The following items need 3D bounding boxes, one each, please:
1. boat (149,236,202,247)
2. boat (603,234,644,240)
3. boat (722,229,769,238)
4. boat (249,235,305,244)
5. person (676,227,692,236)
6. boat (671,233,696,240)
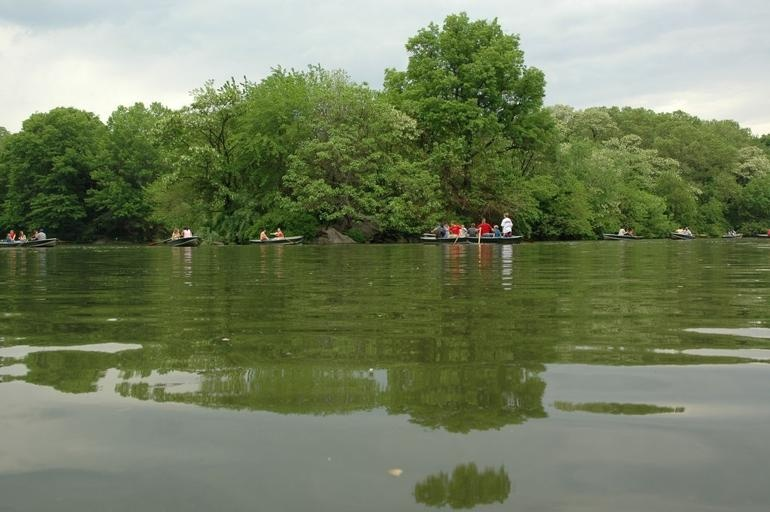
[{"bbox_3d":[-13.024,-0.885,45.094,1.062,0.611,4.437,-6,-1,-45],"label":"boat"},{"bbox_3d":[18.728,-1.552,58.228,3.123,0.443,0.751,1,2,-25],"label":"boat"},{"bbox_3d":[38.650,-2.479,78.346,4.084,1.094,13.165,-2,-1,26],"label":"boat"},{"bbox_3d":[-6.846,-0.961,45.646,3.498,0.450,3.347,-2,-1,-2],"label":"boat"},{"bbox_3d":[26.909,-2.253,66.299,1.274,0.680,1.848,3,4,16],"label":"person"},{"bbox_3d":[25.187,-1.752,62.386,1.598,0.589,2.534,-2,-1,16],"label":"boat"}]
